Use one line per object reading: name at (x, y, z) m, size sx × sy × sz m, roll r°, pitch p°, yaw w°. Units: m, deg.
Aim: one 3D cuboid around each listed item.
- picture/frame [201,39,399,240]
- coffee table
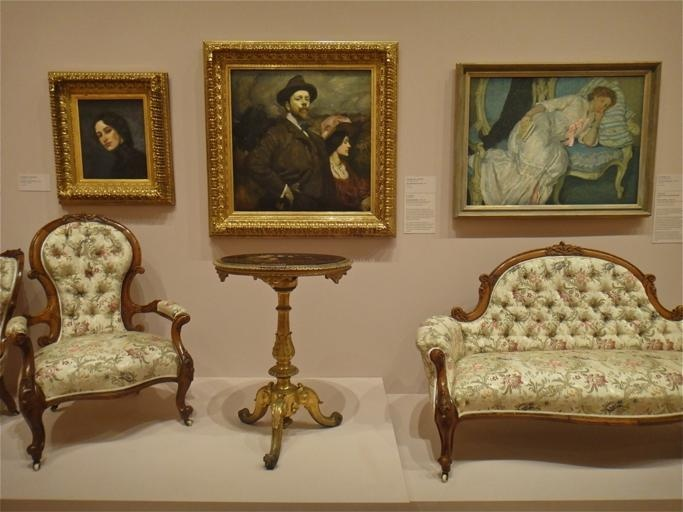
picture/frame at (-0.331, -1.031, 5.234) m, size 1.501 × 1.592 × 0.166 m, roll 0°, pitch 4°, yaw 4°
coffee table at (-0.398, 0.728, 4.967) m, size 1.296 × 1.720 × 1.333 m, roll 0°, pitch -2°, yaw 6°
